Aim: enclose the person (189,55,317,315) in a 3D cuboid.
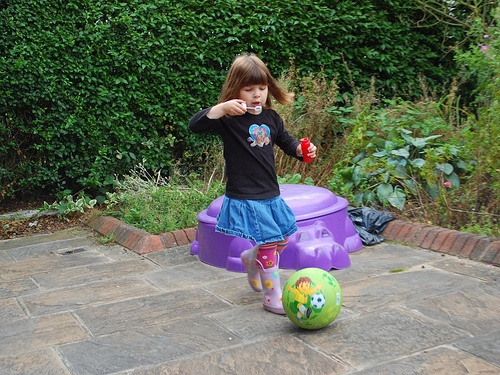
[{"bbox_3d":[0.059,-0.049,2.747,0.643,1.770,0.702,3,16,34],"label":"person"}]
